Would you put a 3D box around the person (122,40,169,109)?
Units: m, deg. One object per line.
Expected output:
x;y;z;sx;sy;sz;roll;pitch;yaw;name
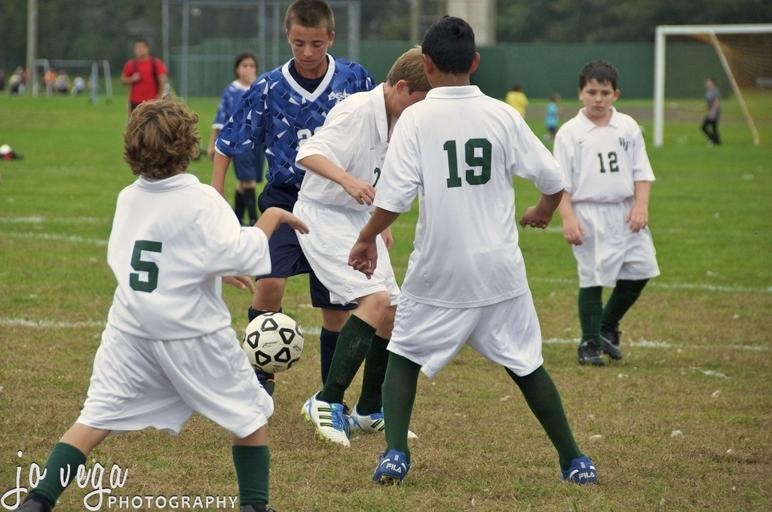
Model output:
-3.534;-2.632;19.922;0.642;0.995;1.159;-1;11;-10;person

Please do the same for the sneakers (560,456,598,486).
1.379;1.531;9.674;0.138;0.166;0.266;-3;11;-20;sneakers

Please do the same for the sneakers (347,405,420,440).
-0.033;1.281;10.338;0.604;0.266;0.199;6;5;0;sneakers

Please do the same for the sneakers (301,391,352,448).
-0.418;1.226;10.254;0.527;0.227;0.188;42;10;17;sneakers

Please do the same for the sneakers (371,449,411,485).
0.061;1.529;9.841;0.236;0.222;0.523;15;-7;5;sneakers

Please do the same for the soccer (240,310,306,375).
-0.868;0.647;10.412;0.444;0.440;0.423;-2;7;-25;soccer
